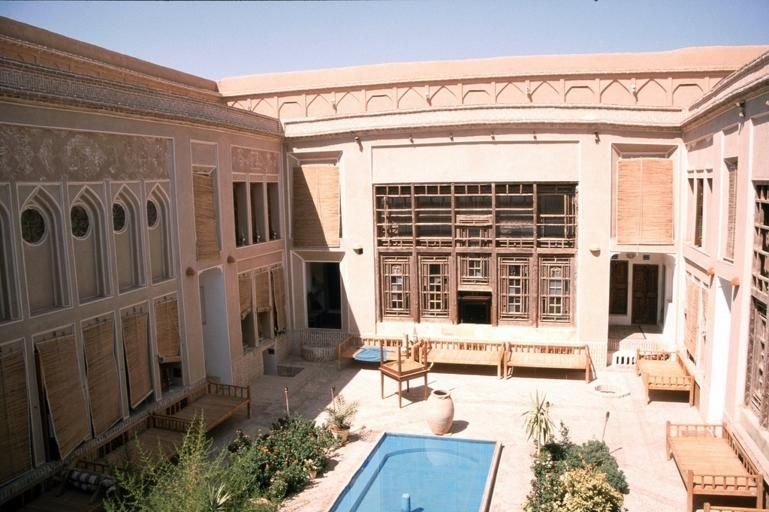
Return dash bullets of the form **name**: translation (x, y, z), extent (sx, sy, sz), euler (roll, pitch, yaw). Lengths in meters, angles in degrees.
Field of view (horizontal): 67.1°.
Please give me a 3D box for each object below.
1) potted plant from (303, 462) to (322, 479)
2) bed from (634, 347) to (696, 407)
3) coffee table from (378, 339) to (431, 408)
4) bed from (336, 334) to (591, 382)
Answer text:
- **potted plant**: translation (-2.028, 5.997, 16.354), extent (0.448, 0.462, 0.458), euler (-1, 3, 5)
- **bed**: translation (9.705, 4.205, 20.363), extent (1.190, 0.955, 2.244), euler (1, 14, 13)
- **coffee table**: translation (0.749, 4.192, 21.317), extent (1.748, 2.025, 3.319), euler (1, 1, 4)
- **bed**: translation (3.439, 3.977, 22.468), extent (9.188, 1.232, 1.537), euler (0, 3, 18)
